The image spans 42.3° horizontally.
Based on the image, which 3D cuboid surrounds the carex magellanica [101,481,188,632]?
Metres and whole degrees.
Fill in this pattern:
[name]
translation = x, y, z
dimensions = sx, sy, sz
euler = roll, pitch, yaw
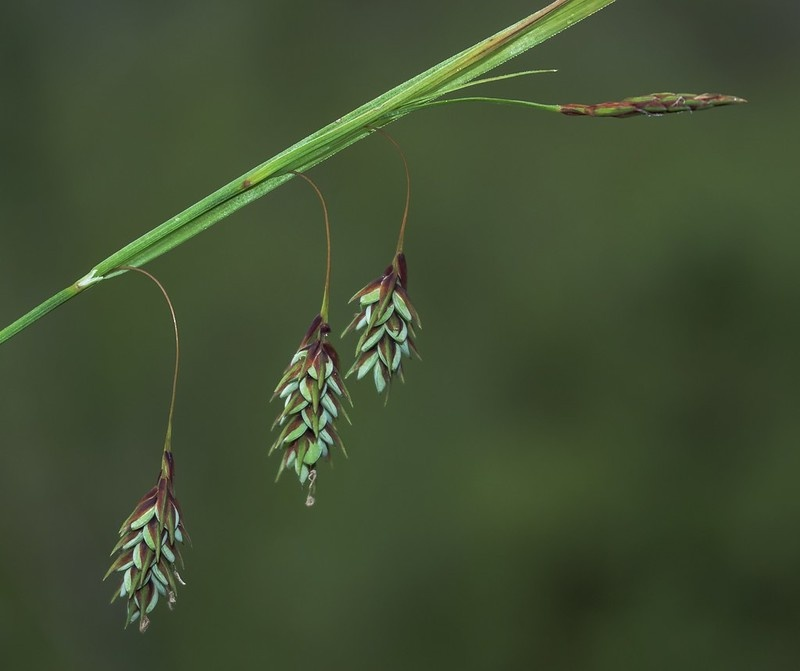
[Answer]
[carex magellanica]
translation = -0.613, 0.560, 2.509
dimensions = 0.191, 0.259, 0.306
euler = 1, -50, -17
